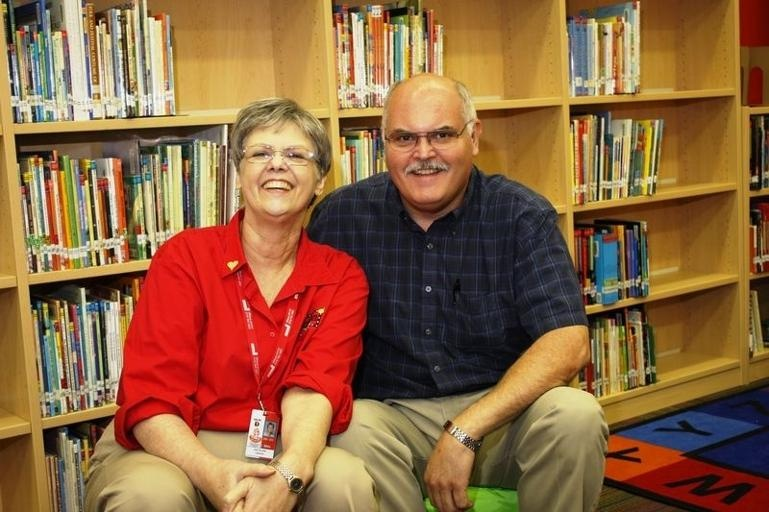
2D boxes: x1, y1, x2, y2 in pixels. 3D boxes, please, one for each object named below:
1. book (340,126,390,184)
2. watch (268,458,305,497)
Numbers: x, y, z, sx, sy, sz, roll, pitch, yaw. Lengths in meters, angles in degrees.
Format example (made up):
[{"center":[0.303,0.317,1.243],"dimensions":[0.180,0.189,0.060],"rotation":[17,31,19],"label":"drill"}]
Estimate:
[{"center":[-0.086,-0.465,2.980],"dimensions":[0.244,0.361,0.264],"rotation":[-3,1,5],"label":"book"},{"center":[-0.274,0.644,1.807],"dimensions":[0.068,0.117,0.111],"rotation":[-37,-17,-20],"label":"watch"}]
